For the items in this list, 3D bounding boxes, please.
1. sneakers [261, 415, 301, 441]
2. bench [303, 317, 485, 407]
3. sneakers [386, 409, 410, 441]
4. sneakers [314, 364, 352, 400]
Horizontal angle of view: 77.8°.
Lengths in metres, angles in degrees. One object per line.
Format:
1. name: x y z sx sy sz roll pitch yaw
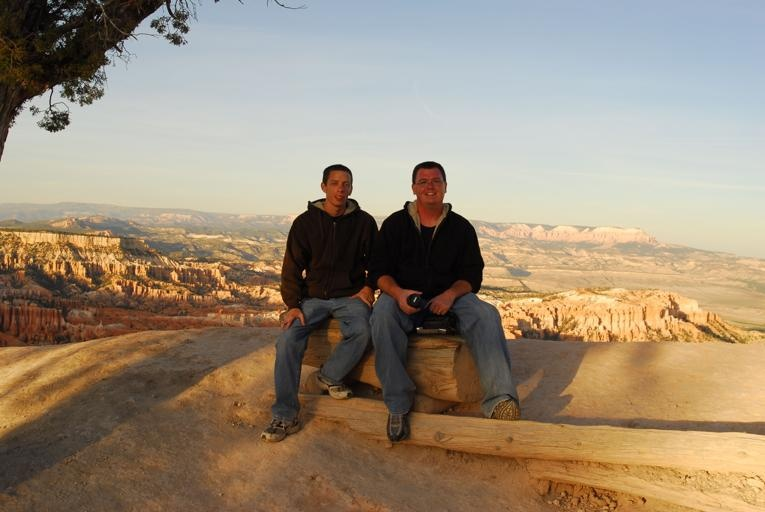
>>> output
1. sneakers: -1.311 2.262 6.223 0.216 0.196 0.520 1 -10 22
2. bench: -0.084 1.899 7.254 2.761 0.805 1.278 -10 0 21
3. sneakers: 0.218 2.193 6.174 0.286 0.347 0.154 -1 -15 8
4. sneakers: -0.685 1.783 6.735 0.647 0.251 0.275 18 24 29
